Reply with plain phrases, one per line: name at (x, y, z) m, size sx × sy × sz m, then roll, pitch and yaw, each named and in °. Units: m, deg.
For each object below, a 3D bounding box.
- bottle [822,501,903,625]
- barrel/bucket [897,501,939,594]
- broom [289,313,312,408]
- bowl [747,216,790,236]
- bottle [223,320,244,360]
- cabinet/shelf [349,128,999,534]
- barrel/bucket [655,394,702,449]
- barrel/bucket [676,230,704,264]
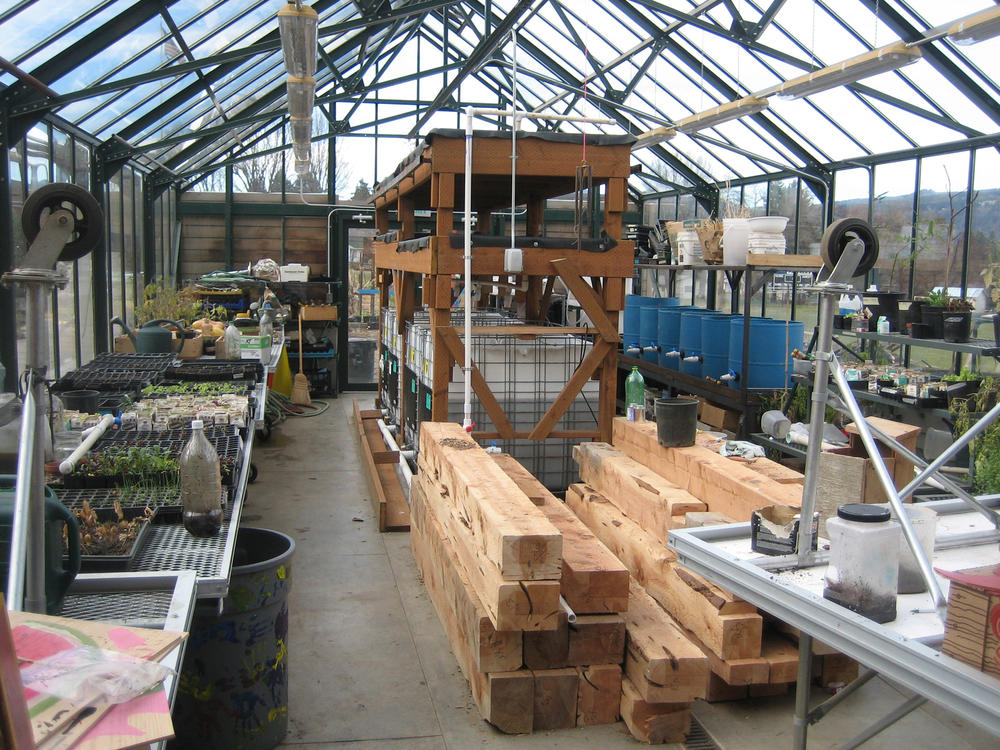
bottle at (0.951, 0.489, 2.106) m, size 0.178 × 0.266 × 0.184 m, roll 0°, pitch 9°, yaw 0°
barrel/bucket at (1.179, 0.494, 2.284) m, size 0.087 × 0.202 × 0.409 m, roll 5°, pitch 9°, yaw 28°
broom at (-2.624, -0.252, 10.591) m, size 0.253 × 1.256 × 0.789 m, roll -2°, pitch 9°, yaw -12°
bowl at (2.212, -1.236, 6.665) m, size 0.265 × 0.102 × 0.265 m, roll -2°, pitch 7°, yaw 0°
bottle at (-1.960, -0.243, 5.893) m, size 0.113 × 0.237 × 0.367 m, roll -3°, pitch 9°, yaw -19°
cabinet/shelf at (0.633, -0.785, 6.394) m, size 2.780 × 2.306 × 3.484 m, roll -4°, pitch 7°, yaw -16°
barrel/bucket at (0.932, 0.256, 4.331) m, size 0.232 × 0.224 × 0.258 m, roll -1°, pitch 7°, yaw -3°
barrel/bucket at (1.783, -1.191, 7.669) m, size 0.311 × 0.317 × 0.318 m, roll 1°, pitch 3°, yaw 0°
